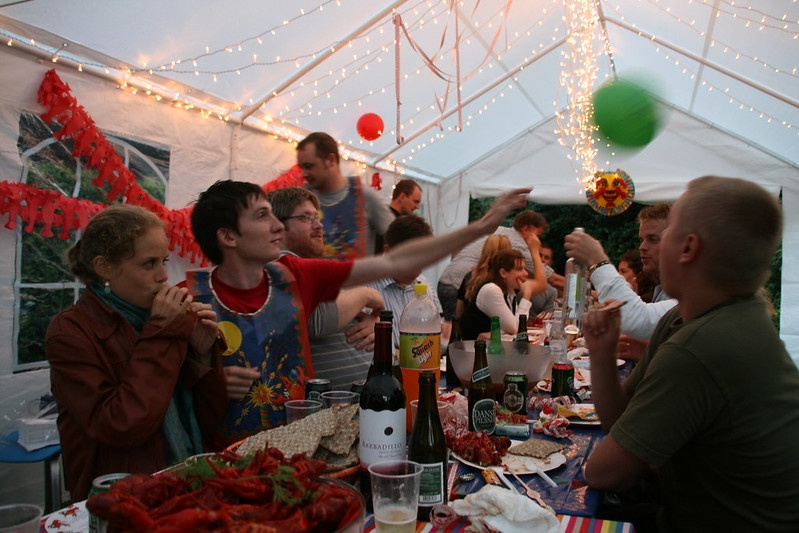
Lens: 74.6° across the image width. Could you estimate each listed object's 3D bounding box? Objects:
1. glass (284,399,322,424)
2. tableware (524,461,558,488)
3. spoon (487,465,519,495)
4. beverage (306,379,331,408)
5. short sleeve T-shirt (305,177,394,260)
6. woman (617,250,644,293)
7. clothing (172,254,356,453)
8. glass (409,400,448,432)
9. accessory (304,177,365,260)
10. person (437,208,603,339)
[{"bbox_3d":[-0.352,0.546,1.942,0.136,0.085,0.147,3,-9,-13],"label":"glass"},{"bbox_3d":[0.546,0.798,2.000,0.036,0.007,0.148,-14,17,-16],"label":"tableware"},{"bbox_3d":[0.389,0.789,1.956,0.041,0.015,0.144,0,25,-33],"label":"spoon"},{"bbox_3d":[-0.304,0.510,2.097,0.085,0.128,0.084,1,-8,8],"label":"beverage"},{"bbox_3d":[-0.389,-0.346,3.892,0.710,0.566,0.233,-2,-7,-4],"label":"short sleeve T-shirt"},{"bbox_3d":[2.676,0.104,5.995,0.319,0.561,0.347,0,1,23],"label":"woman"},{"bbox_3d":[-0.625,0.385,2.347,0.916,0.572,0.206,3,-14,-42],"label":"clothing"},{"bbox_3d":[0.116,0.544,1.973,0.145,0.142,0.131,7,-10,-36],"label":"glass"},{"bbox_3d":[-0.445,-0.340,4.240,0.454,0.658,0.361,-11,-13,10],"label":"accessory"},{"bbox_3d":[1.304,0.360,6.466,1.576,2.180,1.075,5,16,-14],"label":"person"}]
